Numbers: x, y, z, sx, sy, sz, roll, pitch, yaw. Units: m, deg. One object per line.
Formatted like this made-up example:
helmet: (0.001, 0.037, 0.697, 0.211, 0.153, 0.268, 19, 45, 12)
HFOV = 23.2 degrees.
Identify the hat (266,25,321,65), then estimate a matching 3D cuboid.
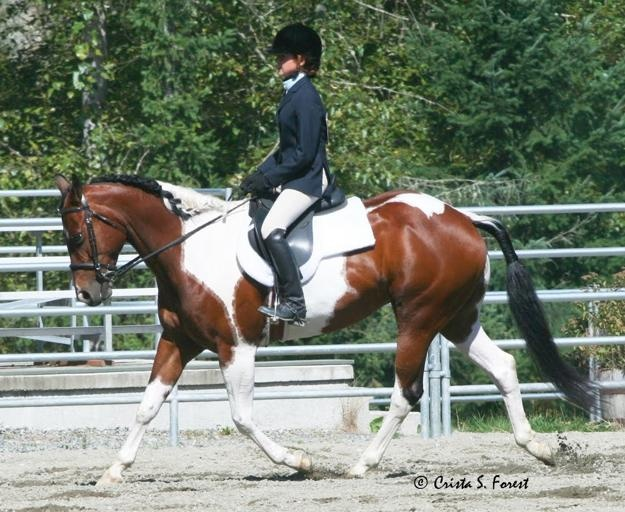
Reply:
hat: (-0.202, -2.285, 16.734, 0.521, 0.324, 0.397, 11, 6, -13)

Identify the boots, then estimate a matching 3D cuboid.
boots: (-0.324, 0.238, 16.308, 0.484, 1.005, 0.228, -3, -3, -2)
